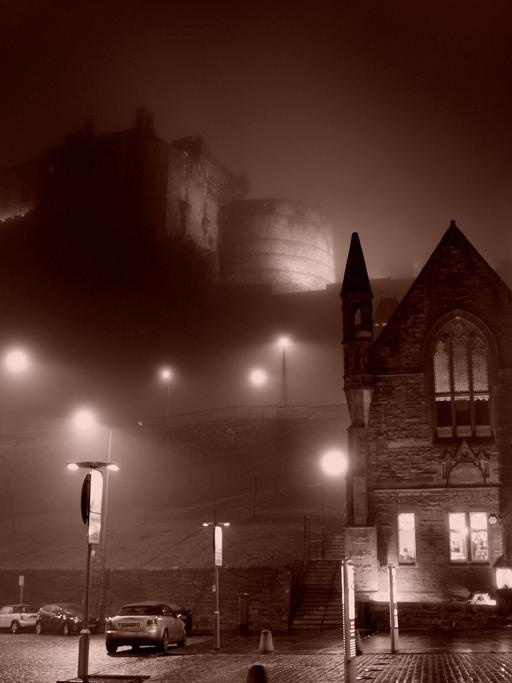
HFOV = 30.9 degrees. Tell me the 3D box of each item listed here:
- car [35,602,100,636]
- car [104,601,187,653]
[{"bbox_3d":[-6.853,10.088,33.454,2.102,1.107,1.320,-20,-28,34],"label":"car"},{"bbox_3d":[-2.673,7.583,24.616,1.019,0.891,2.512,-4,-14,10],"label":"car"}]
